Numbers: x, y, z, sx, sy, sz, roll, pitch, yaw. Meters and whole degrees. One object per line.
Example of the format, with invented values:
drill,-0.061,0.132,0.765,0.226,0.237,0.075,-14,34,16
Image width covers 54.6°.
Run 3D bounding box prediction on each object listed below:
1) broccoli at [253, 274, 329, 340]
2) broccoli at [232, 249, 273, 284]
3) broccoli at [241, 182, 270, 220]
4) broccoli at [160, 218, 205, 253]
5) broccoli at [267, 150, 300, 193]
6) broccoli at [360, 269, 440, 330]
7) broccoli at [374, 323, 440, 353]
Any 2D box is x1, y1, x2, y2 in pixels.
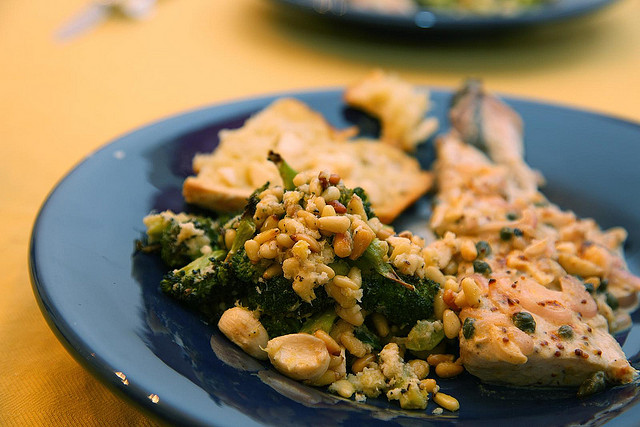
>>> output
broccoli,-0.169,0.519,3.355,0.329,0.187,0.374,-25,60,-29
broccoli,-0.370,0.267,3.464,0.260,0.221,0.097,-23,93,-61
broccoli,-0.369,-0.089,3.535,0.059,0.160,0.204,25,58,-3
broccoli,-0.817,0.132,3.611,0.228,0.076,0.184,16,62,8
broccoli,-0.205,-0.261,3.670,0.065,0.159,0.260,-29,90,-46
broccoli,0.349,0.423,3.455,0.306,0.124,0.355,5,36,-41
broccoli,0.483,0.691,3.408,0.350,0.128,0.121,-4,61,-3
